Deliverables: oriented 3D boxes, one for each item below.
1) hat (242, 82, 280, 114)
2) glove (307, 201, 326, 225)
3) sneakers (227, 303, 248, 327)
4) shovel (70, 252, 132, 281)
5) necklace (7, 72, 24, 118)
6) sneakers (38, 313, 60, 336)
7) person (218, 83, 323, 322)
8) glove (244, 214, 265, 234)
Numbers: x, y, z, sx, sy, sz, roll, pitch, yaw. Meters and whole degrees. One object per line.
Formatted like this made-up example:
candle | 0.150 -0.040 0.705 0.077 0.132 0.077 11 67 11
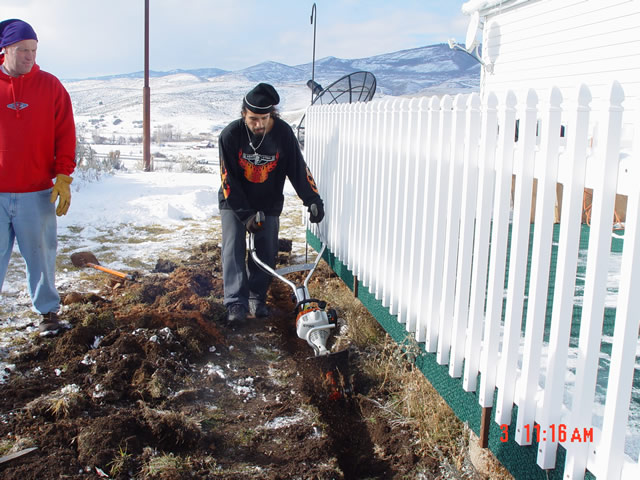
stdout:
hat | -0.558 -1.364 5.125 0.337 0.288 0.359 -2 13 -12
glove | -0.037 -0.272 5.487 0.156 0.208 0.189 0 13 -5
sneakers | -0.825 0.735 5.311 0.195 0.236 0.305 -2 13 -11
shovel | -2.700 0.302 6.438 0.342 0.296 1.465 -9 12 -42
necklace | -2.516 -1.152 4.376 0.107 0.264 0.032 -6 14 -29
sneakers | -2.394 0.753 4.697 0.124 0.241 0.223 0 -6 -4
person | -0.541 -0.389 5.491 0.971 2.357 0.889 -3 13 -16
glove | -0.643 -0.195 5.222 0.056 0.210 0.156 25 26 -39
